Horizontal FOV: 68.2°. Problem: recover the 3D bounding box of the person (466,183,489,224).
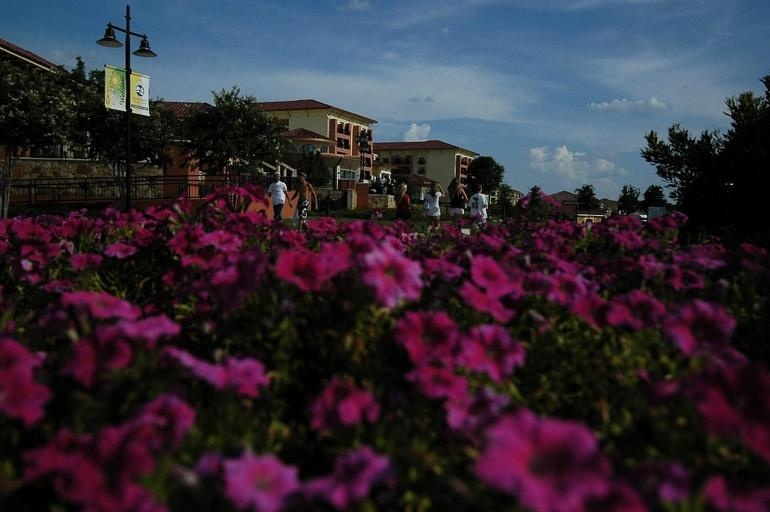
[{"bbox_3d":[1.934,-1.033,12.047,0.416,1.034,0.328,3,32,11],"label":"person"}]
